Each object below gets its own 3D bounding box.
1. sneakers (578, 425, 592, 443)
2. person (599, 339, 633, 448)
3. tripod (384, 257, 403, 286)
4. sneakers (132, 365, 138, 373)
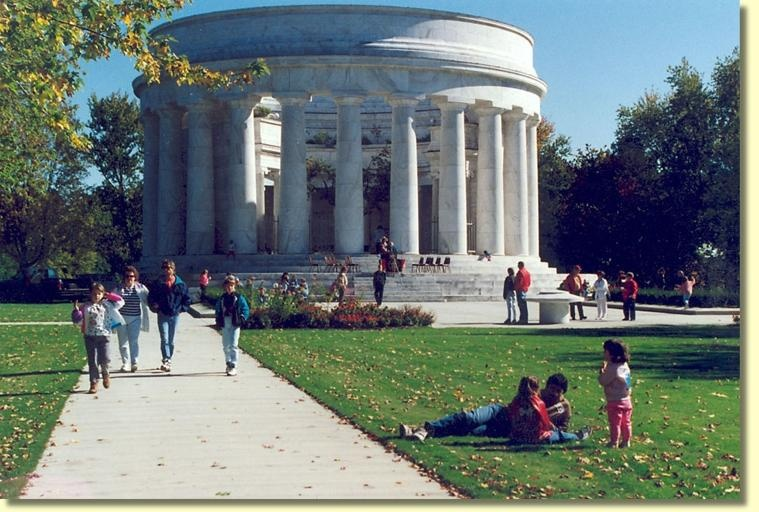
[{"bbox_3d":[5.132,4.469,28.795,0.169,0.497,0.229,28,-14,38],"label":"sneakers"},{"bbox_3d":[5.875,3.409,28.585,0.873,2.638,0.595,1,9,2],"label":"person"},{"bbox_3d":[0.790,0.765,60.834,0.572,1.039,1.910,-1,-5,-4],"label":"tripod"},{"bbox_3d":[-7.343,3.376,34.354,0.173,0.189,0.177,1,2,-11],"label":"sneakers"}]
